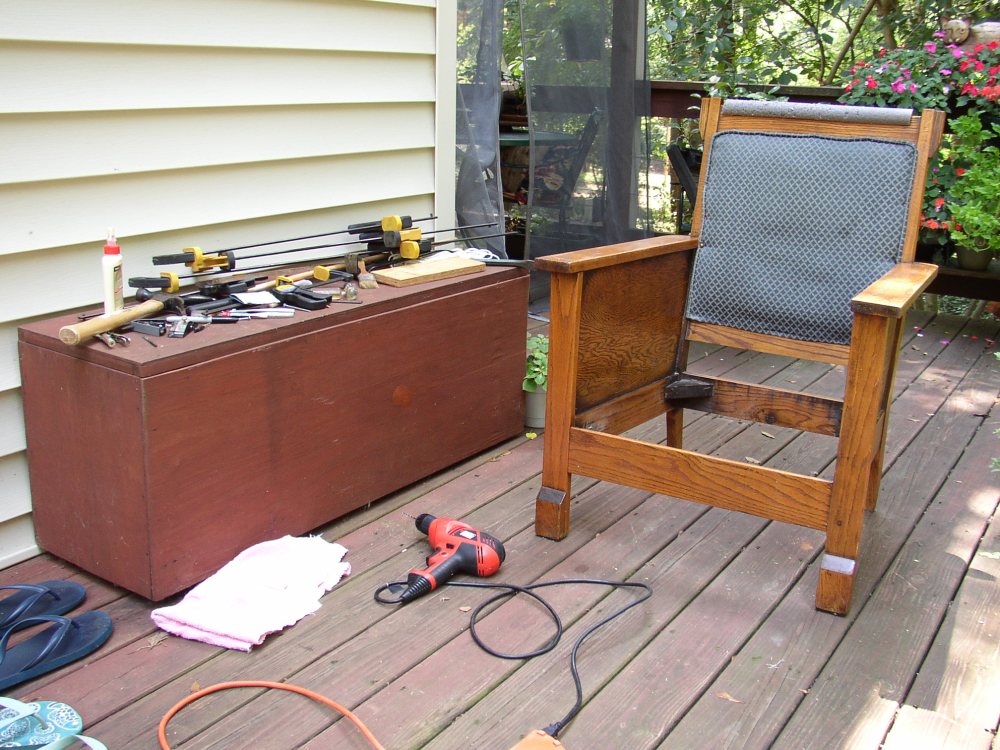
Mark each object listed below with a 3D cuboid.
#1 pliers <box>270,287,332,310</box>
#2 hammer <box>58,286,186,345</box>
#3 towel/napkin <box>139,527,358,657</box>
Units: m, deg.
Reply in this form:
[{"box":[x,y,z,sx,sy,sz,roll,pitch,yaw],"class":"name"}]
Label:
[{"box":[-0.546,-0.216,2.032,0.114,0.025,0.083,12,18,30],"class":"pliers"},{"box":[-0.927,-0.158,1.828,0.314,0.106,0.257,-4,18,-30],"class":"hammer"},{"box":[-0.566,0.513,1.810,0.266,0.086,0.440,12,24,33],"class":"towel/napkin"}]
